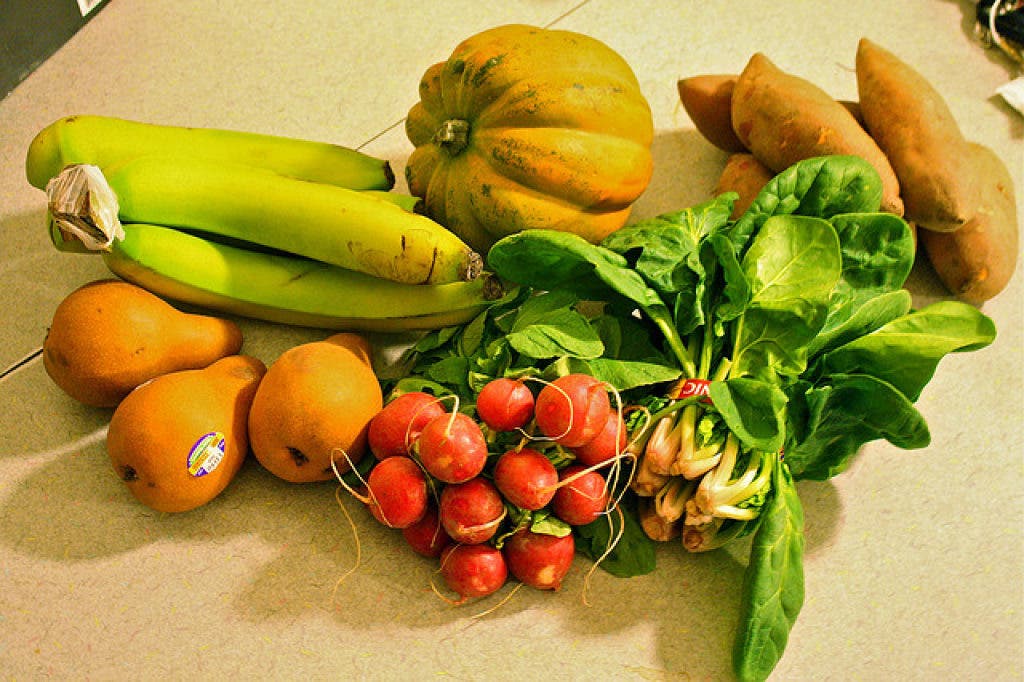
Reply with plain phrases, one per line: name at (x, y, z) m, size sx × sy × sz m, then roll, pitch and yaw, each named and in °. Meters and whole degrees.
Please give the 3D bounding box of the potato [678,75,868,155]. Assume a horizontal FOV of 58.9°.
potato at (0.378, -0.411, 1.554) m, size 0.283 × 0.093 × 0.136 m, roll 12°, pitch 62°, yaw 25°

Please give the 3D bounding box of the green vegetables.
green vegetables at (0.231, 0.040, 1.313) m, size 0.702 × 0.473 × 0.677 m, roll 31°, pitch 50°, yaw 13°

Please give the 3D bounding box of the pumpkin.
pumpkin at (0.068, -0.295, 1.523) m, size 0.359 × 0.344 × 0.265 m, roll 29°, pitch 16°, yaw 34°

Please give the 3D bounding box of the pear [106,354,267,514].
pear at (-0.478, 0.134, 1.406) m, size 0.169 × 0.167 × 0.235 m, roll 39°, pitch 67°, yaw -12°

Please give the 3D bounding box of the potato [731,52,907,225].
potato at (0.438, -0.331, 1.455) m, size 0.325 × 0.117 × 0.156 m, roll 38°, pitch 10°, yaw 14°

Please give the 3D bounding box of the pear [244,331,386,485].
pear at (-0.290, 0.106, 1.347) m, size 0.185 × 0.159 × 0.162 m, roll 14°, pitch 49°, yaw -1°

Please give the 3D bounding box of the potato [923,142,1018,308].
potato at (0.735, -0.213, 1.521) m, size 0.147 × 0.142 × 0.261 m, roll 17°, pitch 55°, yaw -11°
